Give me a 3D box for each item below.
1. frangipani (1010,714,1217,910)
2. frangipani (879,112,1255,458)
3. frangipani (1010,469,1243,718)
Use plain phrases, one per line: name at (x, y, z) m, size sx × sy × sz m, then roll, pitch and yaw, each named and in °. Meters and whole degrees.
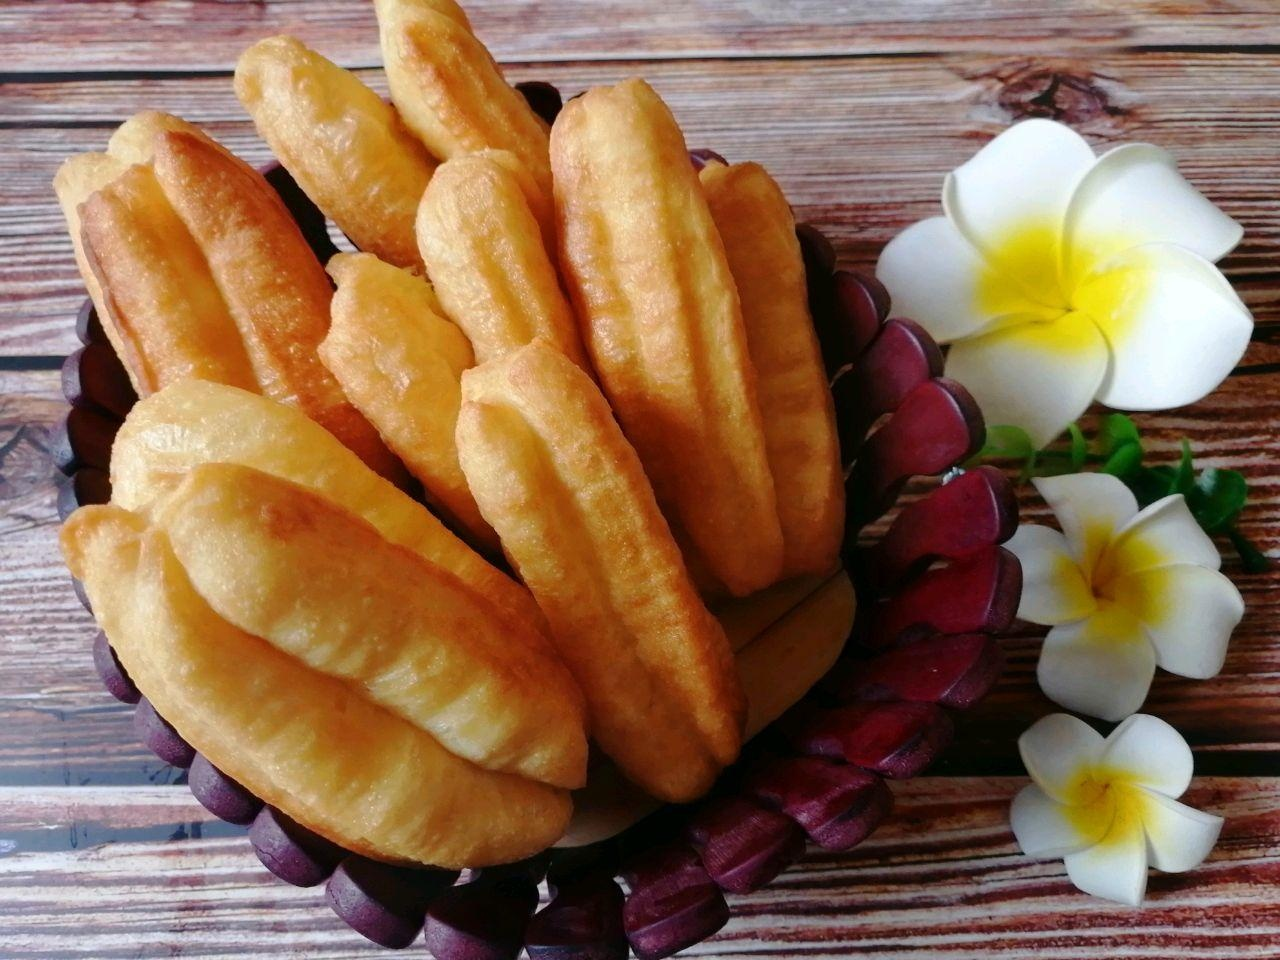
frangipani at (0.273, 0.192, 0.850) m, size 0.112 × 0.091 × 0.080 m, roll -9°, pitch 34°, yaw 7°
frangipani at (0.244, -0.110, 0.883) m, size 0.042 × 0.186 × 0.195 m, roll -11°, pitch 32°, yaw 51°
frangipani at (0.284, 0.066, 0.865) m, size 0.123 × 0.125 × 0.091 m, roll -12°, pitch 34°, yaw 3°
